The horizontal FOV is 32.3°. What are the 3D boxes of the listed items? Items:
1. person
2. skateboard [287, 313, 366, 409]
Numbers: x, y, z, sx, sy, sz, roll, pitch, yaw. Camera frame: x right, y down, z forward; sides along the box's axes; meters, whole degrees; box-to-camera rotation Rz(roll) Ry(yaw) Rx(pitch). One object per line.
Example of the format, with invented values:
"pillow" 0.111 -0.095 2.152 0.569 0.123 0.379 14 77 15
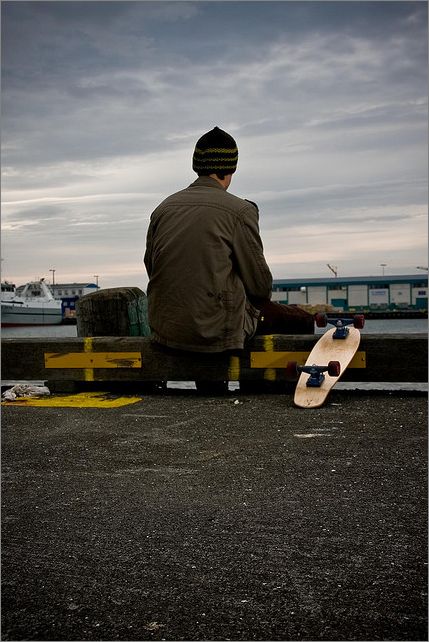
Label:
"person" -0.030 -0.394 4.814 0.843 1.778 0.690 0 4 17
"skateboard" 0.736 0.178 4.753 0.312 0.157 1.118 0 26 24
